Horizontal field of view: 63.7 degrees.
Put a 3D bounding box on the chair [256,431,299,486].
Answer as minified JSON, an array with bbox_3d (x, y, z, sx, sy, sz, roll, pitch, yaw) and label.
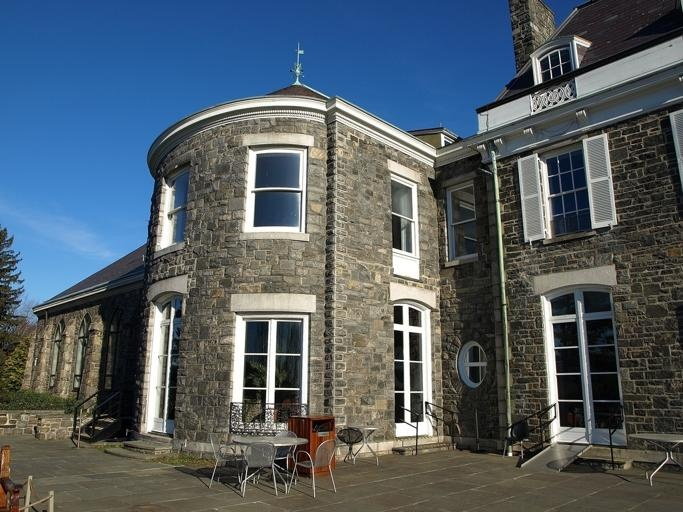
[{"bbox_3d":[-1.148,4.348,11.944,0.927,1.255,0.947,-8,-27,20],"label":"chair"}]

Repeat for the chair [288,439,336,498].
[{"bbox_3d":[-0.619,4.327,11.716,0.738,1.164,0.813,-10,-22,30],"label":"chair"}]

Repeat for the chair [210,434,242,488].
[{"bbox_3d":[-2.469,4.294,11.719,0.719,1.017,0.677,7,-16,-18],"label":"chair"}]

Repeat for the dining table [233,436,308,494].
[{"bbox_3d":[-1.442,4.231,11.141,1.521,1.054,1.545,-4,-14,32],"label":"dining table"}]

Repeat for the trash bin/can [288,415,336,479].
[{"bbox_3d":[-0.664,4.152,11.949,0.698,1.349,0.922,-21,-28,41],"label":"trash bin/can"}]

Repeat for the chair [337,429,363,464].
[{"bbox_3d":[0.200,4.774,14.078,0.674,0.827,0.626,-1,-12,19],"label":"chair"}]

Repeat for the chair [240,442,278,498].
[{"bbox_3d":[-1.499,3.921,10.506,0.471,0.815,0.543,22,-15,-21],"label":"chair"}]
